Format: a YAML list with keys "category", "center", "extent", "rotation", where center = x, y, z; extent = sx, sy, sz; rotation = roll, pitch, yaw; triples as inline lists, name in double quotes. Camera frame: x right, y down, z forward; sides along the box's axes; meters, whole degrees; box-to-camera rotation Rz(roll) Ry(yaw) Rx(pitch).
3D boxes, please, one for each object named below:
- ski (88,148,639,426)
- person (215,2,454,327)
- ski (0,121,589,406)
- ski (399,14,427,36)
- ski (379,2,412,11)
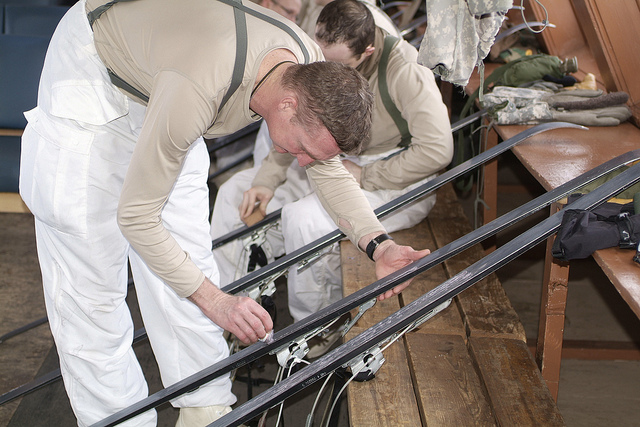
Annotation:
- category: "ski"
  center: [0.175, 0.362, 2.868]
  extent: [2.929, 0.164, 0.126]
  rotation: [-27, 30, -10]
- category: "person"
  center: [0.089, -0.201, 2.948]
  extent: [1.012, 1.446, 0.977]
  rotation: [-13, 51, -19]
- category: "ski"
  center: [-0.085, 0.251, 2.894]
  extent: [2.939, 0.200, 0.073]
  rotation: [-30, 24, 9]
- category: "ski"
  center: [0.657, -1.354, 4.505]
  extent: [0.177, 0.083, 0.564]
  rotation: [3, 21, 24]
- category: "ski"
  center: [0.641, -1.729, 5.224]
  extent: [0.245, 0.073, 1.075]
  rotation: [-3, 19, 8]
